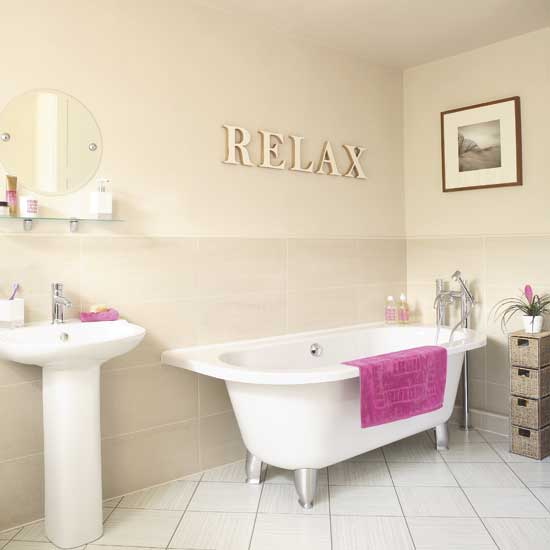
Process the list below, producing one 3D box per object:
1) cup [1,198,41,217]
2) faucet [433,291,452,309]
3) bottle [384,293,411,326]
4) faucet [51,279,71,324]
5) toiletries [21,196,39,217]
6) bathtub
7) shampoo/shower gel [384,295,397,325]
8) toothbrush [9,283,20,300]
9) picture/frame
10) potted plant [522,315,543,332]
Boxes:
[{"bbox_3d":[-1.039,-0.276,2.077,0.128,0.079,0.067,-2,6,-33],"label":"cup"},{"bbox_3d":[1.124,0.169,3.402,0.151,0.141,0.085,-1,5,-16],"label":"faucet"},{"bbox_3d":[0.860,0.251,3.607,0.218,0.273,0.111,2,-6,-23],"label":"bottle"},{"bbox_3d":[-0.926,0.120,2.197,0.075,0.171,0.177,-2,4,-22],"label":"faucet"},{"bbox_3d":[-1.011,-0.282,2.093,0.080,0.086,0.079,0,1,8],"label":"toiletries"},{"bbox_3d":[0.171,0.846,2.756,0.734,0.509,1.489,1,-13,23],"label":"bathtub"},{"bbox_3d":[0.827,0.245,3.625,0.085,0.191,0.184,1,3,12],"label":"shampoo/shower gel"},{"bbox_3d":[-1.084,0.069,2.127,0.028,0.075,0.024,12,-17,36],"label":"toothbrush"},{"bbox_3d":[1.376,-0.877,3.341,0.055,0.698,0.731,2,-4,-40],"label":"picture/frame"},{"bbox_3d":[1.514,0.288,2.984,0.102,0.099,0.086,1,4,22],"label":"potted plant"}]
